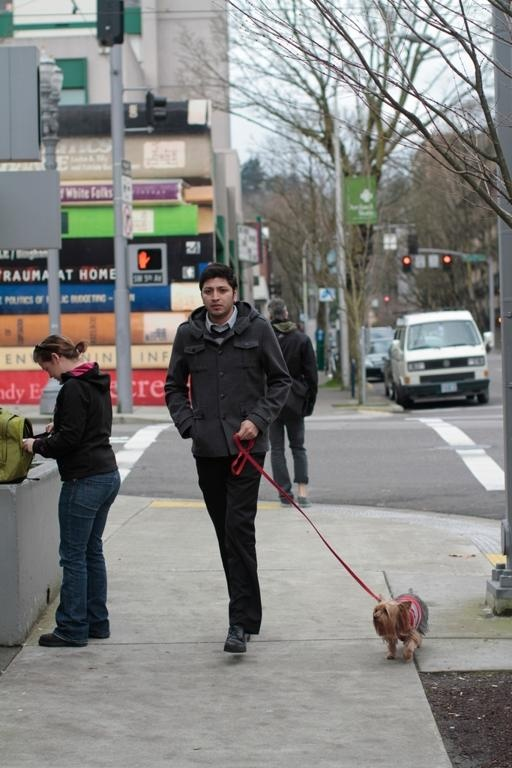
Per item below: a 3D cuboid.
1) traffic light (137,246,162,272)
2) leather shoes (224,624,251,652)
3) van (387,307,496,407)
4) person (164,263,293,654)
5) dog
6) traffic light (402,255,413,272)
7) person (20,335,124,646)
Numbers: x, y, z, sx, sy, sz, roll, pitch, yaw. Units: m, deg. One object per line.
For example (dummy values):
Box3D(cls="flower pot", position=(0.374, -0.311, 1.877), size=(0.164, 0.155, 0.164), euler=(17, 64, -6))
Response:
Box3D(cls="traffic light", position=(-1.657, -1.923, 21.374), size=(0.333, 0.367, 0.049), euler=(0, 0, 2))
Box3D(cls="leather shoes", position=(-0.085, 1.162, 6.298), size=(0.073, 0.106, 0.217), euler=(2, -12, 3))
Box3D(cls="van", position=(3.323, -0.385, 25.240), size=(1.551, 1.745, 2.989), euler=(-1, 5, 0))
Box3D(cls="person", position=(-0.160, 0.337, 6.447), size=(0.589, 1.771, 0.561), euler=(0, 5, 14))
Box3D(cls="dog", position=(0.644, 1.090, 6.154), size=(0.161, 0.281, 0.330), euler=(1, 6, 26))
Box3D(cls="traffic light", position=(3.473, -2.720, 31.747), size=(0.242, 0.493, 0.314), euler=(0, -5, 0))
Box3D(cls="person", position=(-0.867, 0.511, 6.560), size=(0.329, 1.461, 0.513), euler=(1, 5, 27))
